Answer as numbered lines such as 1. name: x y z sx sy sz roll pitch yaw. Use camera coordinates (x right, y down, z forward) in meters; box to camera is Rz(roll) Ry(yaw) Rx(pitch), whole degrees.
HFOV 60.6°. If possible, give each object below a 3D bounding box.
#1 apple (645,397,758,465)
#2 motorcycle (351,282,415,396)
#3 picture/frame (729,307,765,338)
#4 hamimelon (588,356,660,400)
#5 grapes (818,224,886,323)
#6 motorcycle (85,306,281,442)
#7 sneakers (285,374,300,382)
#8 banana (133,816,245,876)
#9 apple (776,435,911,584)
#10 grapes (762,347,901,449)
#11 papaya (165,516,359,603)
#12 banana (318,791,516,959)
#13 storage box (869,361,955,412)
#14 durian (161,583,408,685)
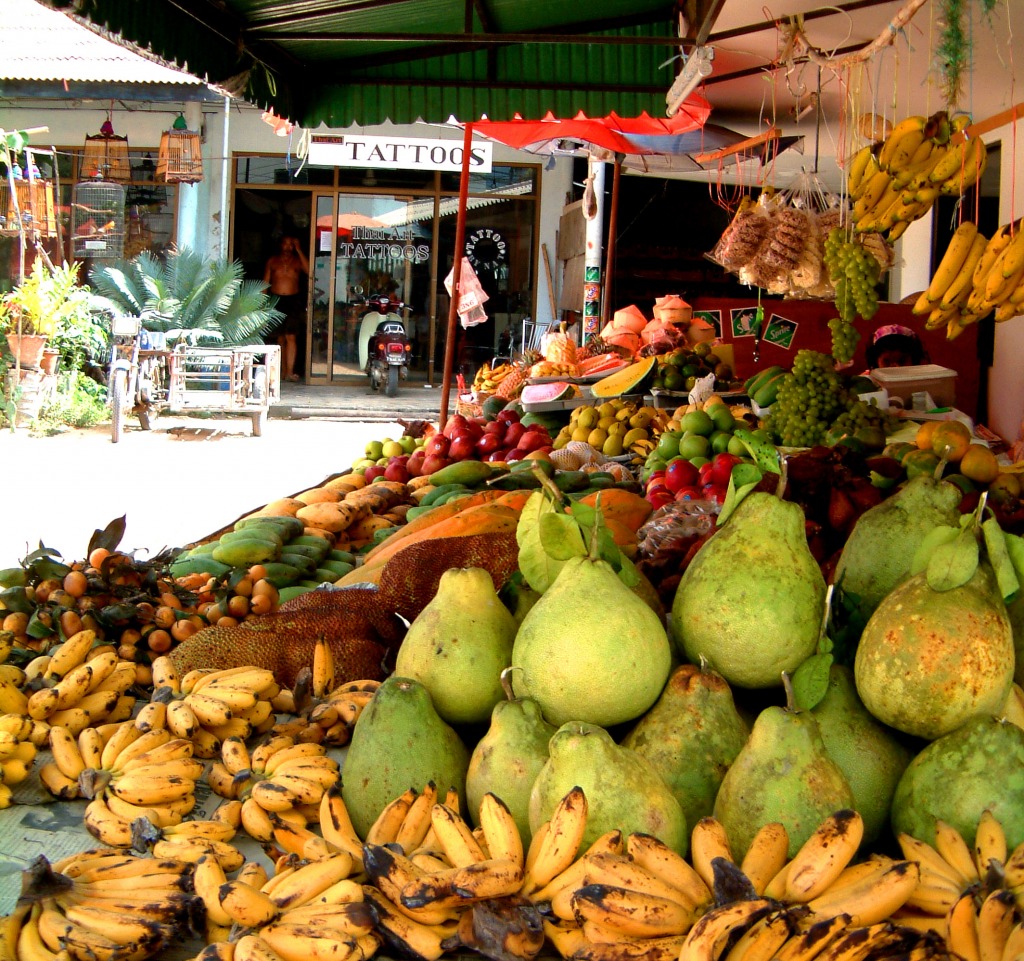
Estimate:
1. apple: 0.784 -0.191 3.705 0.439 0.178 0.360 -28 25 25
2. motorcycle: -2.233 -2.411 15.362 0.752 1.708 1.689 -4 10 -18
3. picture/frame: 1.913 -1.295 7.124 0.236 0.265 0.025 1 3 5
4. hamimelon: 0.639 -0.562 4.939 0.263 0.090 0.308 -41 -2 -43
5. grapes: 1.653 -1.066 4.237 0.210 0.163 0.517 -35 27 45
6. motorcycle: -4.125 -1.336 11.267 2.228 1.224 1.779 2 2 -4
7. sneakers: -4.041 -1.901 16.142 0.269 0.121 0.096 -5 11 -32
8. banana: -0.461 0.509 1.248 0.135 0.034 0.077 9 11 -29
9. apple: 0.766 0.068 2.013 0.273 0.335 0.375 -2 -13 7
10. grapes: 1.411 -0.365 3.870 0.509 0.411 0.428 -1 10 5
11. papaya: -0.734 0.220 2.639 0.260 0.133 0.365 -13 10 -16
12. banana: -0.122 0.456 1.061 0.143 0.076 0.187 -19 20 -25
13. storage box: 2.214 -0.512 4.771 0.363 0.162 0.264 0 4 -3
14. durian: -0.467 0.331 1.888 0.391 0.154 0.221 -2 1 8
